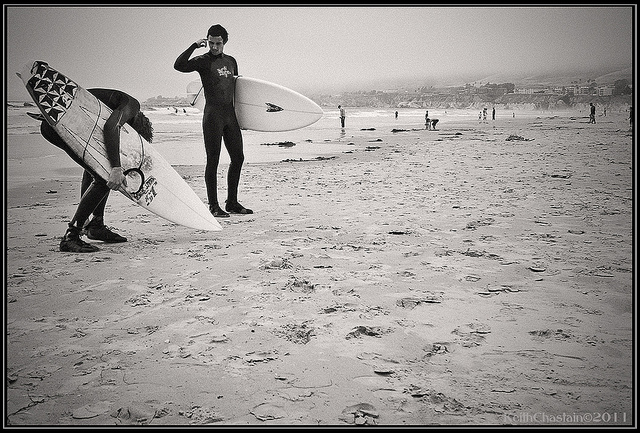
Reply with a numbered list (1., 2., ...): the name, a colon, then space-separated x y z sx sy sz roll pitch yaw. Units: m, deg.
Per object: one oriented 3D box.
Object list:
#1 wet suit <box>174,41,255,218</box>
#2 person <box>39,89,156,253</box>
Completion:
1. wet suit: -1.280 -1.070 6.505 0.686 2.080 0.898 -7 14 -6
2. person: -2.238 -0.498 5.250 0.677 1.545 1.098 1 15 24
